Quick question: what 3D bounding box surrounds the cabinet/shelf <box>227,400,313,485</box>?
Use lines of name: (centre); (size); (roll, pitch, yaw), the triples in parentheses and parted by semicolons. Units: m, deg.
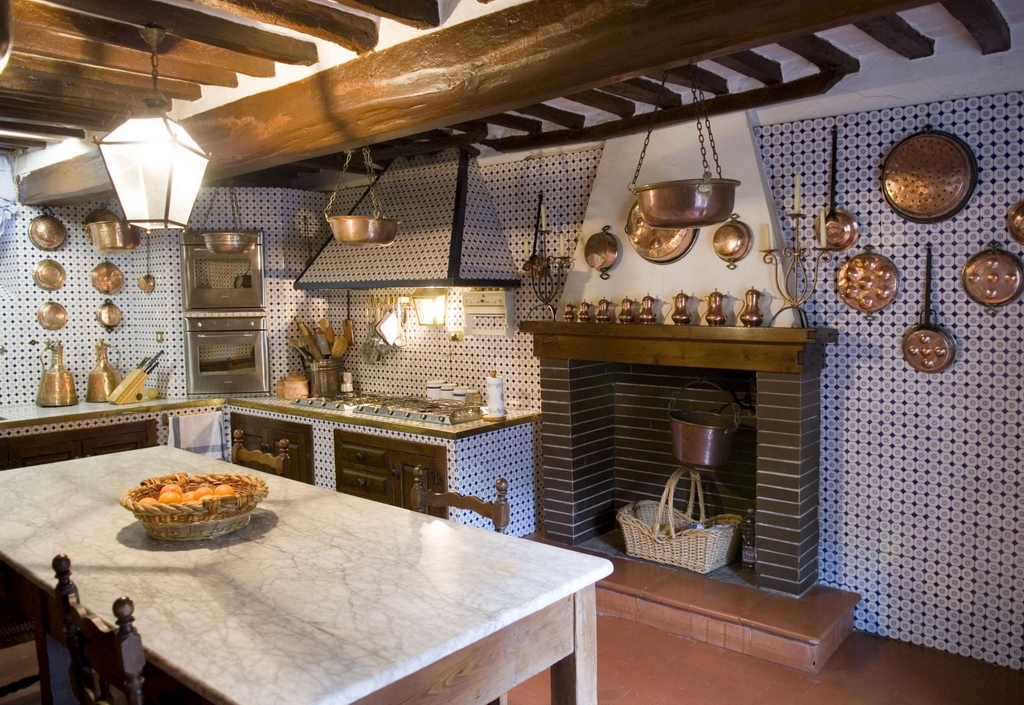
cabinet/shelf: (-1.914, 0.713, 5.960); (0.779, 0.632, 0.406); (3, 2, 31)

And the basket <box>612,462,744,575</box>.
basket: (1.315, 1.208, 5.492); (0.637, 0.667, 0.916); (-2, 1, -43)

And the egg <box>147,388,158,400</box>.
egg: (-3.404, 0.392, 6.966); (0.088, 0.062, 0.085); (17, -26, -31)

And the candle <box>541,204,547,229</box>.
candle: (0.257, -1.101, 6.000); (0.043, 0.191, 0.067); (-9, 16, -37)

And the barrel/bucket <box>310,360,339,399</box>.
barrel/bucket: (-1.700, 0.257, 7.033); (0.358, 0.330, 0.331); (0, -2, 0)

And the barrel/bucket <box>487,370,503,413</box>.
barrel/bucket: (-0.130, 0.338, 5.808); (0.122, 0.274, 0.090); (0, 13, -4)

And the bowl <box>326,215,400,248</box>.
bowl: (-1.023, -0.836, 5.102); (0.448, 0.208, 0.234); (-1, 12, -7)

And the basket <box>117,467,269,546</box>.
basket: (-1.465, 0.726, 3.588); (0.425, 0.140, 0.457); (1, 2, 24)

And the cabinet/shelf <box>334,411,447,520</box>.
cabinet/shelf: (-0.936, 0.857, 6.002); (1.111, 0.601, 0.625); (3, 1, 33)

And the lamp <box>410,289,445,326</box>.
lamp: (-0.707, -0.383, 6.364); (0.308, 0.303, 0.313); (0, -1, -40)

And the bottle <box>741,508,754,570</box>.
bottle: (1.670, 1.295, 5.206); (0.084, 0.373, 0.206); (5, 13, 18)

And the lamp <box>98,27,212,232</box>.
lamp: (-1.699, -0.896, 3.509); (0.362, 0.623, 0.302); (6, 14, 22)

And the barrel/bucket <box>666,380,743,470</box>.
barrel/bucket: (1.401, 0.507, 5.282); (0.623, 0.623, 0.572); (0, 11, 0)

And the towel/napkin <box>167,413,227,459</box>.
towel/napkin: (-2.827, 0.732, 6.567); (0.484, 0.459, 0.071); (-2, 6, -40)

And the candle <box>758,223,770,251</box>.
candle: (1.683, -0.769, 4.896); (0.093, 0.164, 0.036); (6, 14, 24)

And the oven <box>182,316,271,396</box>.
oven: (-2.757, 0.044, 7.171); (0.707, 0.843, 0.590); (-3, -17, -18)

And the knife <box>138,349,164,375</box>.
knife: (-3.429, 0.093, 7.027); (0.302, 0.090, 0.094); (-29, -50, 21)

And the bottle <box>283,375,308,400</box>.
bottle: (-2.012, 0.318, 6.887); (0.242, 0.197, 0.230); (-1, -2, 20)
